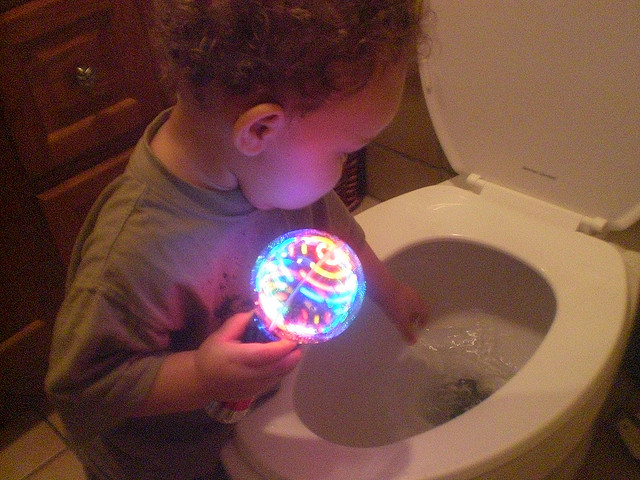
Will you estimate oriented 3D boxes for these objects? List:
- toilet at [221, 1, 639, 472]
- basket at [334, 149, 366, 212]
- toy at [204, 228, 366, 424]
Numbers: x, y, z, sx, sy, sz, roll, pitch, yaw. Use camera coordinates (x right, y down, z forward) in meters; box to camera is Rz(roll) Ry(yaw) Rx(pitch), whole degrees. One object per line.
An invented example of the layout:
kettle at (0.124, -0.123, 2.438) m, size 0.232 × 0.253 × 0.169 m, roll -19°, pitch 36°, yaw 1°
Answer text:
toilet at (0.190, -0.009, 0.850) m, size 0.552 × 0.655 × 0.349 m, roll -39°, pitch 56°, yaw -19°
basket at (0.087, -0.158, 1.400) m, size 0.053 × 0.147 × 0.112 m, roll 2°, pitch 14°, yaw 5°
toy at (-0.017, 0.067, 0.725) m, size 0.153 × 0.118 × 0.134 m, roll 8°, pitch 40°, yaw 8°
